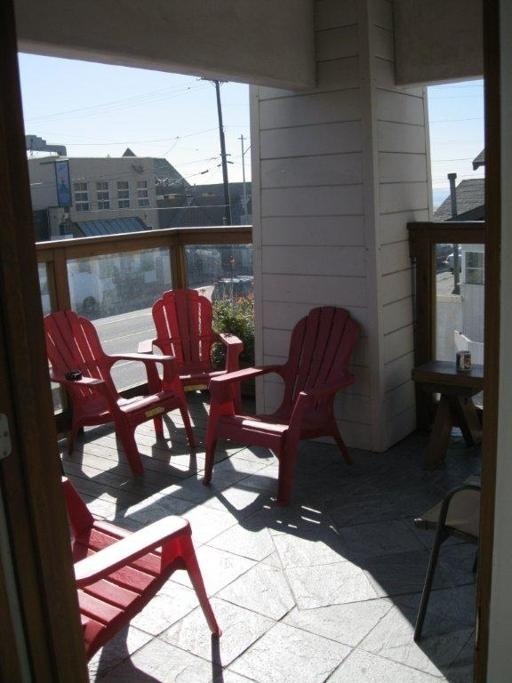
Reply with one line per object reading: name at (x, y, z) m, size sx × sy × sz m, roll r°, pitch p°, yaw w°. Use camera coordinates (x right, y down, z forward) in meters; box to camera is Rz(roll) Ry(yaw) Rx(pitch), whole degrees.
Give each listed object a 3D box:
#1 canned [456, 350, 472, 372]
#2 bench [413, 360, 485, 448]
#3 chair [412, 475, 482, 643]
canned at (1.232, 0.119, 2.958) m, size 0.084 × 0.111 × 0.083 m, roll 0°, pitch 9°, yaw 14°
bench at (1.169, 0.371, 3.000) m, size 0.319 × 0.501 × 0.473 m, roll 3°, pitch 18°, yaw 17°
chair at (0.645, 0.678, 1.691) m, size 0.190 × 0.591 × 0.407 m, roll 2°, pitch 9°, yaw 24°
